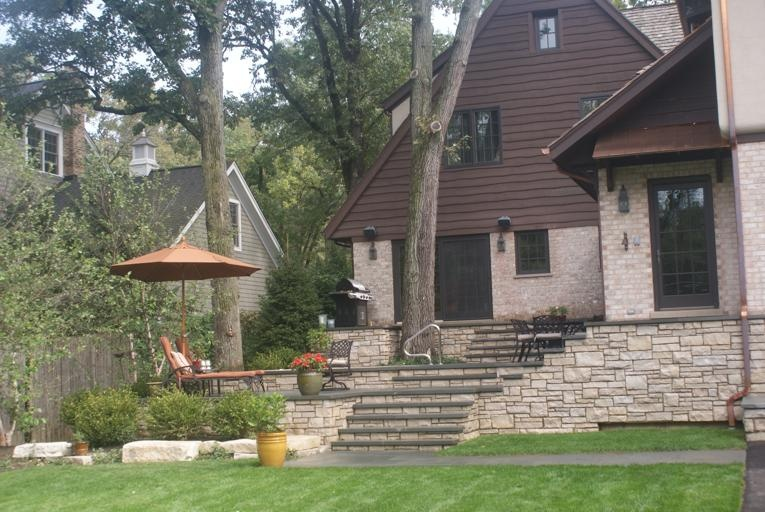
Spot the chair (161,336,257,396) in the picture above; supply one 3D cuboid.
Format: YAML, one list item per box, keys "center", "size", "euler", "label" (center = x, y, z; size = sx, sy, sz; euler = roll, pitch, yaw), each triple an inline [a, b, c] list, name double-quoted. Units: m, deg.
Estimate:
- center: [-4.612, 2.841, 33.215]
  size: [2.402, 1.622, 1.605]
  euler: [-3, -7, 6]
  label: "chair"

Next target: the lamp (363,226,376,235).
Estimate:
- center: [-0.437, -0.815, 38.066]
  size: [0.294, 0.304, 0.233]
  euler: [-2, -7, 23]
  label: "lamp"

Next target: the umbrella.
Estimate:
- center: [-5.109, 1.329, 33.360]
  size: [3.238, 2.519, 3.289]
  euler: [0, 5, 24]
  label: "umbrella"

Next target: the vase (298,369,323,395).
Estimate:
- center: [-1.892, 3.202, 31.397]
  size: [0.571, 0.514, 0.552]
  euler: [-5, -2, 9]
  label: "vase"

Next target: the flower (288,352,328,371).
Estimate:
- center: [-1.964, 2.786, 32.572]
  size: [0.709, 0.446, 0.731]
  euler: [2, -3, -12]
  label: "flower"

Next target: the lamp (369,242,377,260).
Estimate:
- center: [-0.316, -0.203, 38.225]
  size: [0.238, 0.531, 0.100]
  euler: [2, -9, -4]
  label: "lamp"

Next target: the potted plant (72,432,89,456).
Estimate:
- center: [-7.620, 4.707, 30.873]
  size: [0.470, 0.634, 0.437]
  euler: [1, -14, -9]
  label: "potted plant"

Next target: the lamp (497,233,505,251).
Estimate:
- center: [3.584, -0.453, 37.258]
  size: [0.249, 0.575, 0.105]
  euler: [0, -9, 5]
  label: "lamp"

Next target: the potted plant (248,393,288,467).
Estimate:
- center: [-2.809, 4.192, 29.848]
  size: [0.994, 1.798, 1.973]
  euler: [2, -10, -6]
  label: "potted plant"

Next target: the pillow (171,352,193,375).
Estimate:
- center: [-5.334, 2.839, 32.783]
  size: [0.551, 0.600, 0.685]
  euler: [-1, -10, 9]
  label: "pillow"

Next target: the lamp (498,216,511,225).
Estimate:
- center: [3.679, -1.124, 37.243]
  size: [0.426, 0.279, 0.239]
  euler: [1, -10, 0]
  label: "lamp"

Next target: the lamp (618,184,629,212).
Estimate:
- center: [6.337, -1.532, 32.321]
  size: [0.290, 0.758, 0.139]
  euler: [-1, -9, 12]
  label: "lamp"
